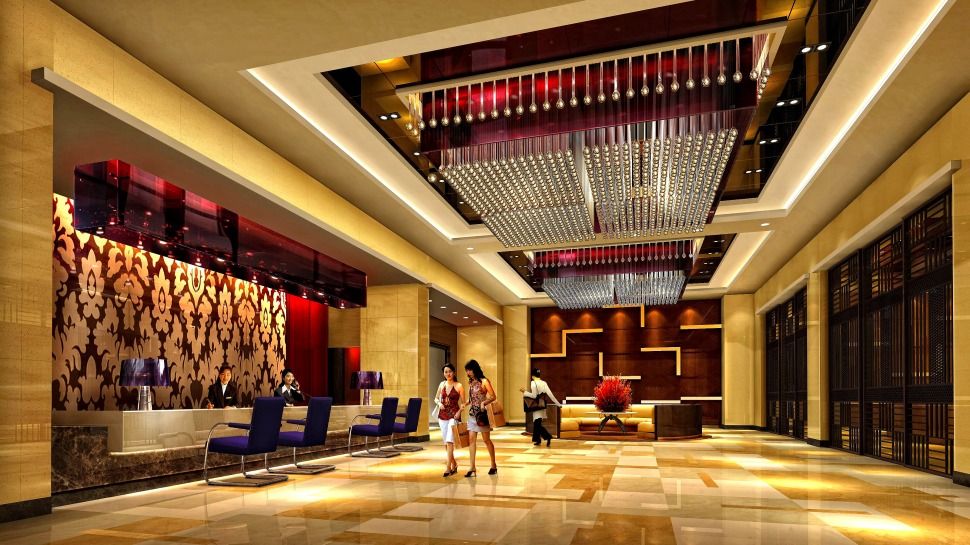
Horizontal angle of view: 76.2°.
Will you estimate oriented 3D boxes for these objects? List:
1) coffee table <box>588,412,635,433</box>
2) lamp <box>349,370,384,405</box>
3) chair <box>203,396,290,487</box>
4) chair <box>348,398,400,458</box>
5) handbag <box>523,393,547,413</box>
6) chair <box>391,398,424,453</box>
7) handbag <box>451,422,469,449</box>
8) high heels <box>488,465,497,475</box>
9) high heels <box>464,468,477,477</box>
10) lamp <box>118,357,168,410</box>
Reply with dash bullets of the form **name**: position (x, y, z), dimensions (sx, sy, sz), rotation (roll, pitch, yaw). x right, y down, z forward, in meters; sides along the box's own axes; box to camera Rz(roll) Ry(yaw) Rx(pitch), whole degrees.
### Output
- **coffee table**: position (4.137, 4.822, 20.129), dimensions (0.902, 0.546, 0.937), rotation (-1, -7, 12)
- **lamp**: position (-3.152, 3.102, 16.578), dimensions (0.936, 0.904, 0.955), rotation (-9, -11, 44)
- **chair**: position (-4.323, 3.069, 11.403), dimensions (1.542, 1.389, 1.453), rotation (3, -13, -25)
- **chair**: position (-2.586, 3.584, 14.489), dimensions (0.999, 1.230, 0.938), rotation (-5, -12, 13)
- **handbag**: position (1.415, 3.682, 17.513), dimensions (0.697, 0.628, 0.323), rotation (-2, -49, 7)
- **chair**: position (-2.082, 3.764, 15.470), dimensions (1.124, 1.220, 1.020), rotation (2, -12, 3)
- **handbag**: position (-0.496, 3.133, 11.971), dimensions (0.504, 0.490, 0.209), rotation (17, -18, -39)
- **high heels**: position (0.138, 3.864, 12.104), dimensions (0.161, 0.140, 0.283), rotation (-6, -17, 11)
- **high heels**: position (-0.279, 3.783, 11.672), dimensions (0.237, 0.086, 0.122), rotation (-2, -9, 12)
- **lamp**: position (-6.604, 2.165, 12.072), dimensions (0.927, 0.982, 0.906), rotation (0, -2, -8)
